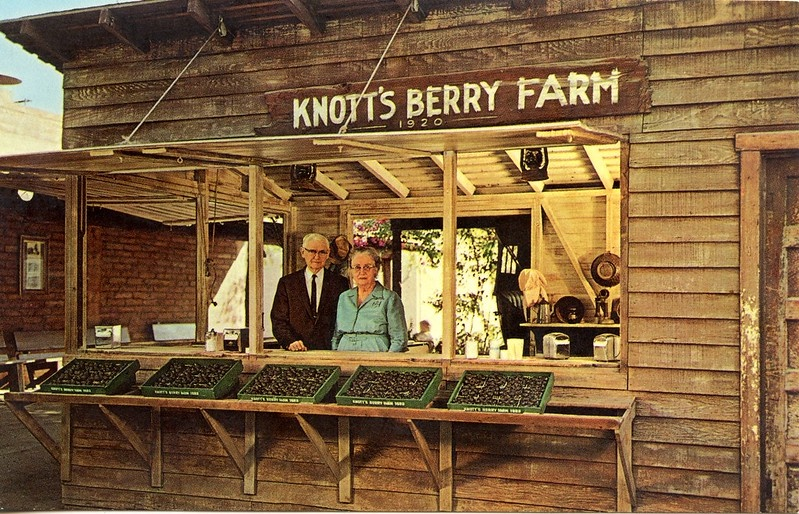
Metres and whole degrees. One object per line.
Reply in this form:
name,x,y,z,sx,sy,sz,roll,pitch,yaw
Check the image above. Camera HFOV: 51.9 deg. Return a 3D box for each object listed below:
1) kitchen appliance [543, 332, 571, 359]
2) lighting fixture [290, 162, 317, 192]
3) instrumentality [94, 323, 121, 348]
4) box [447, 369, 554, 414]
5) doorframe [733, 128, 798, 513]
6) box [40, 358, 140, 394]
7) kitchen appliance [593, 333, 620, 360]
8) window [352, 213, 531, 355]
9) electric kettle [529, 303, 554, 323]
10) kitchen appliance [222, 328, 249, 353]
kitchen appliance,1.561,0.889,8.183,0.252,0.294,0.215,1,-4,16
lighting fixture,-1.191,-1.022,10.456,0.267,0.358,0.118,2,4,15
instrumentality,-3.315,0.884,9.312,0.253,0.248,0.253,1,-3,-19
box,0.942,1.245,7.710,0.934,0.364,0.516,2,-5,11
doorframe,3.356,0.585,7.679,0.472,3.569,0.307,1,-5,22
box,-3.223,1.237,8.510,0.648,0.192,0.484,0,18,19
kitchen appliance,2.036,0.887,8.131,0.246,0.268,0.309,2,-5,12
window,0.722,0.383,13.523,3.395,2.482,0.314,1,-4,28
electric kettle,1.881,0.748,11.134,0.321,0.281,0.207,-2,-2,28
kitchen appliance,-1.733,0.877,8.818,0.174,0.227,0.320,0,-2,20
